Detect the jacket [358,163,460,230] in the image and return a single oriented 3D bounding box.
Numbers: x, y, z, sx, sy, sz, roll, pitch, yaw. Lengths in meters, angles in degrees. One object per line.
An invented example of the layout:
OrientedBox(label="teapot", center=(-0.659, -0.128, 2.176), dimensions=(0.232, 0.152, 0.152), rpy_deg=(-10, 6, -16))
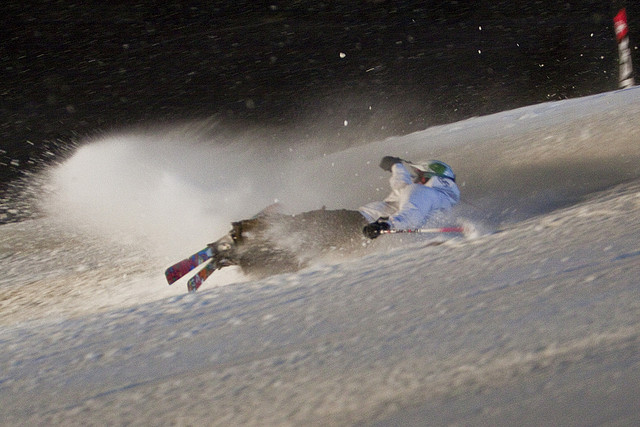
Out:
OrientedBox(label="jacket", center=(1.272, -0.175, 8.526), dimensions=(1.291, 0.339, 0.771), rpy_deg=(-28, -13, 25))
